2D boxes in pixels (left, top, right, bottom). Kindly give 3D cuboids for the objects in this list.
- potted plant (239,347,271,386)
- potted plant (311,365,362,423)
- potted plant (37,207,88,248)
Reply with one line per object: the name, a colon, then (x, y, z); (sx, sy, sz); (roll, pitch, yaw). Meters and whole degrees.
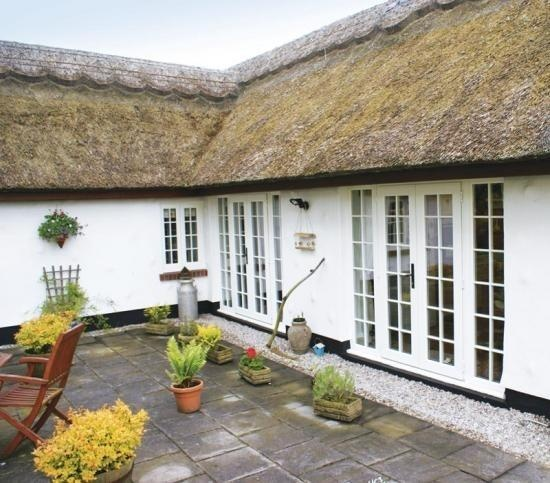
potted plant: (-0.293, 1.706, 6.720); (0.321, 0.411, 0.539); (-6, 5, -28)
potted plant: (0.685, 1.733, 5.546); (0.562, 0.486, 0.379); (0, 8, 26)
potted plant: (-3.839, -0.248, 8.809); (0.722, 0.699, 0.745); (-7, 11, -32)
